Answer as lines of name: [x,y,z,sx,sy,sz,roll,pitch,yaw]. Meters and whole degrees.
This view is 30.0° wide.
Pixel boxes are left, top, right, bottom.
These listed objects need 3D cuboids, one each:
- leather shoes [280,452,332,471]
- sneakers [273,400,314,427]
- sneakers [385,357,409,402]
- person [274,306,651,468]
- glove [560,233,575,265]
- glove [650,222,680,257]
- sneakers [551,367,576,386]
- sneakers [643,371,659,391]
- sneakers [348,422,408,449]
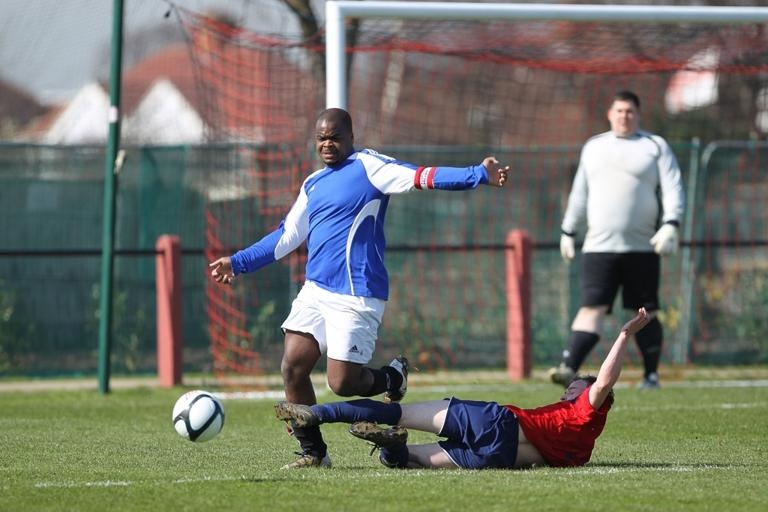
leather shoes: [-0.680,1.762,12.325,0.458,0.176,0.153,1,-6,-7]
sneakers: [-0.776,1.335,12.103,0.409,0.151,0.189,18,17,27]
sneakers: [0.090,1.075,12.542,0.146,0.421,0.199,6,18,27]
person: [0.638,1.277,12.553,2.747,0.977,1.482,-3,-17,-4]
glove: [1.848,-0.084,13.928,0.078,0.268,0.192,6,-11,-40]
glove: [2.664,-0.171,13.489,0.254,0.278,0.278,1,-1,8]
sneakers: [1.761,1.161,13.881,0.215,0.182,0.178,5,-3,31]
sneakers: [2.816,1.297,14.999,0.149,0.163,0.193,2,-4,-1]
sneakers: [-0.048,1.530,12.083,0.436,0.208,0.223,18,-14,-5]
